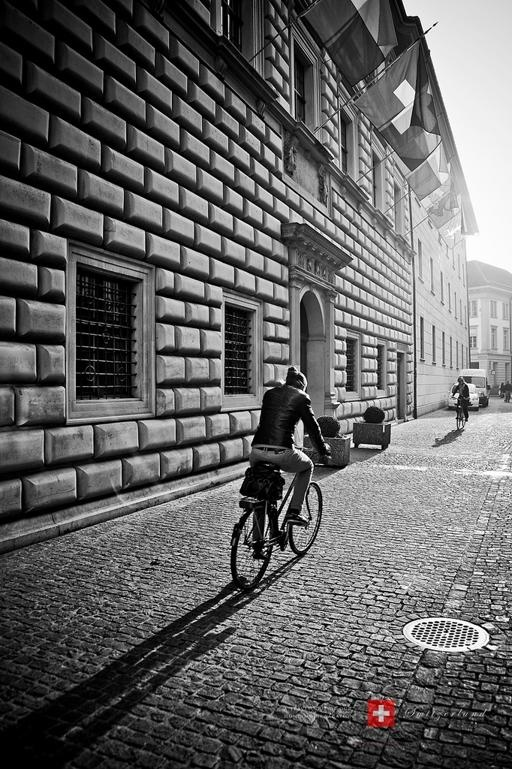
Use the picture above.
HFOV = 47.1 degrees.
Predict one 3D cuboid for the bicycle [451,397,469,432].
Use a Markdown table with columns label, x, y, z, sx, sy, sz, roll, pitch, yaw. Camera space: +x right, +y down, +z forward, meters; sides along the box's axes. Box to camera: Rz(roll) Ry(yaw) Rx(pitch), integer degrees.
| label | x | y | z | sx | sy | sz | roll | pitch | yaw |
| --- | --- | --- | --- | --- | --- | --- | --- | --- | --- |
| bicycle | 6.731 | 0.974 | 19.496 | 0.531 | 0.987 | 1.359 | -1 | -1 | 20 |

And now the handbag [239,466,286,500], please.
| label | x | y | z | sx | sy | sz | roll | pitch | yaw |
| --- | --- | --- | --- | --- | --- | --- | --- | --- | --- |
| handbag | 0.033 | 0.676 | 4.439 | 0.246 | 0.337 | 0.259 | 9 | 2 | 27 |

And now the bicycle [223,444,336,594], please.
| label | x | y | z | sx | sy | sz | roll | pitch | yaw |
| --- | --- | --- | --- | --- | --- | --- | --- | --- | --- |
| bicycle | 0.198 | 1.029 | 4.602 | 0.460 | 0.873 | 1.179 | 0 | 6 | 21 |

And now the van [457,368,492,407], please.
| label | x | y | z | sx | sy | sz | roll | pitch | yaw |
| --- | --- | --- | --- | --- | --- | --- | --- | --- | --- |
| van | 13.954 | 0.069 | 37.122 | 1.433 | 2.139 | 3.497 | -1 | -3 | 17 |

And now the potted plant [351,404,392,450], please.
| label | x | y | z | sx | sy | sz | roll | pitch | yaw |
| --- | --- | --- | --- | --- | --- | --- | --- | --- | --- |
| potted plant | 2.839 | 1.047 | 13.928 | 0.754 | 1.496 | 0.849 | 0 | -6 | 29 |

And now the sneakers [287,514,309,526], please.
| label | x | y | z | sx | sy | sz | roll | pitch | yaw |
| --- | --- | --- | --- | --- | --- | --- | --- | --- | --- |
| sneakers | 0.355 | 1.123 | 4.892 | 0.075 | 0.133 | 0.227 | -7 | -13 | 44 |
